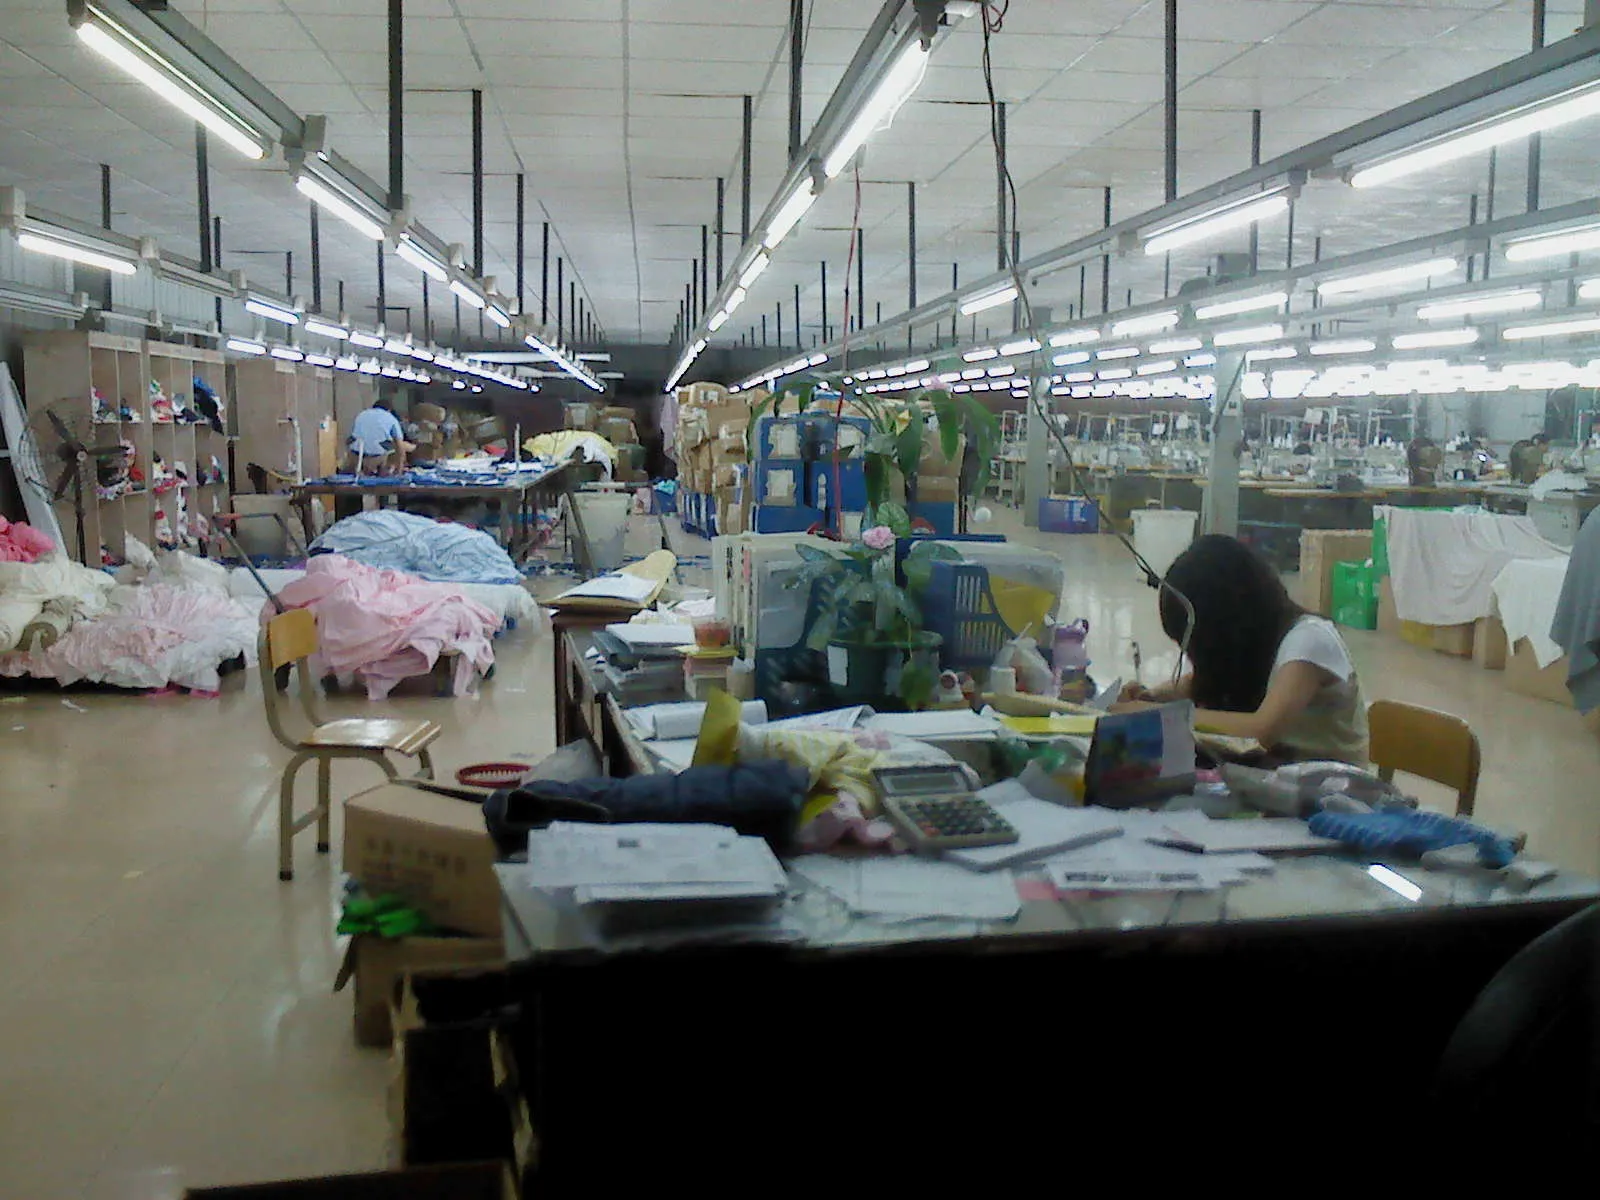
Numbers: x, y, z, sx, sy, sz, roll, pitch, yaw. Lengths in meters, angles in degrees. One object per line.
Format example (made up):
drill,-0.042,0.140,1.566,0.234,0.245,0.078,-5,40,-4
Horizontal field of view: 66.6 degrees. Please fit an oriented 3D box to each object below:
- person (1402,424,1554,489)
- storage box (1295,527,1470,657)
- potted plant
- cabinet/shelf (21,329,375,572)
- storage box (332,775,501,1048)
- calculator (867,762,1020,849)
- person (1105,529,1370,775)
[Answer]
person,7.721,-1.586,13.812,1.812,0.950,1.263,-2,7,-15
storage box,4.595,-0.394,9.686,1.621,1.108,0.886,-2,5,-22
potted plant,0.425,-0.203,3.469,0.490,0.962,1.136,1,5,-14
cabinet/shelf,-5.887,-1.461,11.810,0.842,3.239,3.478,0,7,-4
storage box,-1.069,0.802,3.473,0.520,0.810,0.725,1,7,-6
calculator,0.270,0.399,2.370,0.217,0.091,0.290,1,10,-12
person,1.239,0.190,3.437,0.631,0.756,0.557,-10,7,11
